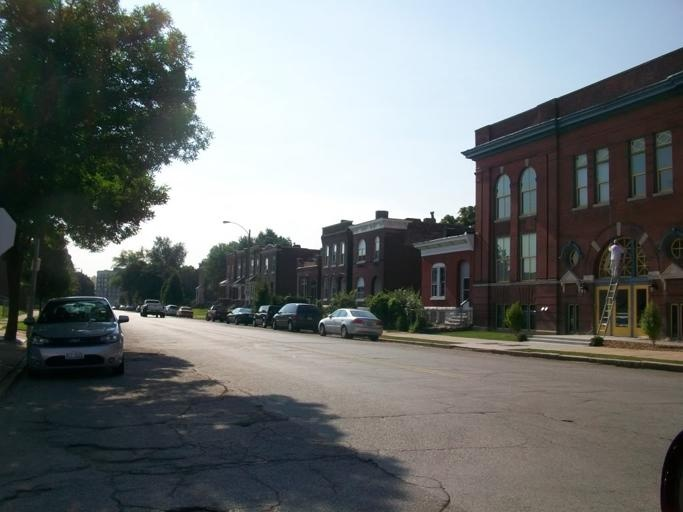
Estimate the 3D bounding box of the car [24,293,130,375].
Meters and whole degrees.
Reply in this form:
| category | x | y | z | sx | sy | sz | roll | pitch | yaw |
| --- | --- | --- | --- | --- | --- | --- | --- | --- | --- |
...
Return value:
| category | x | y | z | sx | sy | sz | roll | pitch | yaw |
| --- | --- | --- | --- | --- | --- | --- | --- | --- | --- |
| car | -6.439 | 1.989 | 14.129 | 2.088 | 1.961 | 2.223 | 2 | -2 | -31 |

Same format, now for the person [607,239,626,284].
| category | x | y | z | sx | sy | sz | roll | pitch | yaw |
| --- | --- | --- | --- | --- | --- | --- | --- | --- | --- |
| person | 13.152 | 0.221 | 27.897 | 0.608 | 1.536 | 1.275 | 1 | -1 | 24 |

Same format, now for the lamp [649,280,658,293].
| category | x | y | z | sx | sy | sz | roll | pitch | yaw |
| --- | --- | --- | --- | --- | --- | --- | --- | --- | --- |
| lamp | 13.821 | 1.319 | 25.790 | 0.348 | 0.515 | 0.395 | 6 | -8 | -10 |
